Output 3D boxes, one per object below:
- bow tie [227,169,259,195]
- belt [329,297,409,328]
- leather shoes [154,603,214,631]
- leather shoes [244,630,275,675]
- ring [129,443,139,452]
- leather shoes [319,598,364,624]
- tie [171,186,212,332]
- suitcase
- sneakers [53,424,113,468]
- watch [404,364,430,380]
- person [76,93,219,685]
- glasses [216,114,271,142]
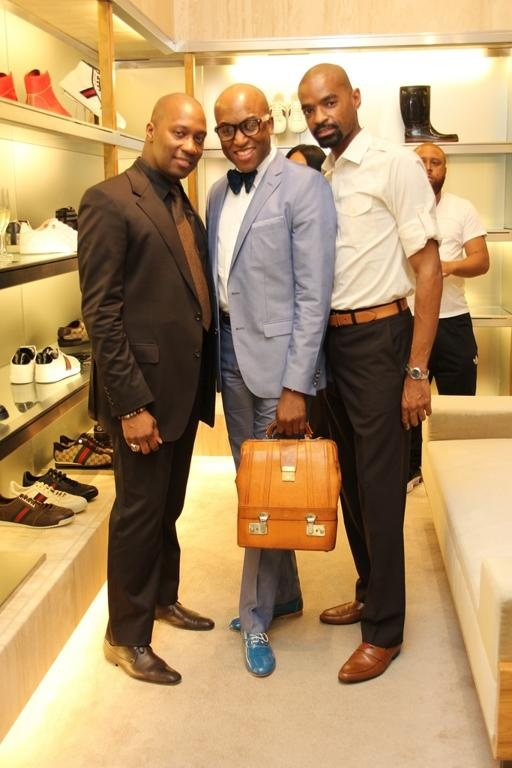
[{"bbox_3d":[-0.039,-0.524,1.401,0.064,0.068,0.025,9,26,21],"label":"bow tie"},{"bbox_3d":[0.294,-0.185,1.436,0.211,0.074,0.102,0,2,17],"label":"belt"},{"bbox_3d":[-0.228,0.751,1.781,0.194,0.090,0.070,2,7,18],"label":"leather shoes"},{"bbox_3d":[0.012,0.744,1.499,0.047,0.052,0.125,0,2,-8],"label":"leather shoes"},{"bbox_3d":[-0.300,0.159,1.346,0.024,0.028,0.019,9,9,42],"label":"ring"},{"bbox_3d":[0.279,0.739,1.782,0.179,0.087,0.063,0,2,-1],"label":"leather shoes"},{"bbox_3d":[-0.146,-0.297,1.438,0.024,0.287,0.062,-16,13,-41],"label":"tie"},{"bbox_3d":[0.072,0.252,1.357,0.263,0.292,0.170,0,14,-5],"label":"suitcase"},{"bbox_3d":[-0.780,0.311,2.487,0.326,0.143,0.245,1,3,-3],"label":"sneakers"},{"bbox_3d":[0.412,-0.023,1.378,0.044,0.032,0.048,11,2,-25],"label":"watch"},{"bbox_3d":[-0.283,0.041,1.492,0.349,1.512,0.518,-1,2,-5],"label":"person"},{"bbox_3d":[-0.033,-0.626,1.310,0.139,0.074,0.072,-1,2,6],"label":"glasses"}]
